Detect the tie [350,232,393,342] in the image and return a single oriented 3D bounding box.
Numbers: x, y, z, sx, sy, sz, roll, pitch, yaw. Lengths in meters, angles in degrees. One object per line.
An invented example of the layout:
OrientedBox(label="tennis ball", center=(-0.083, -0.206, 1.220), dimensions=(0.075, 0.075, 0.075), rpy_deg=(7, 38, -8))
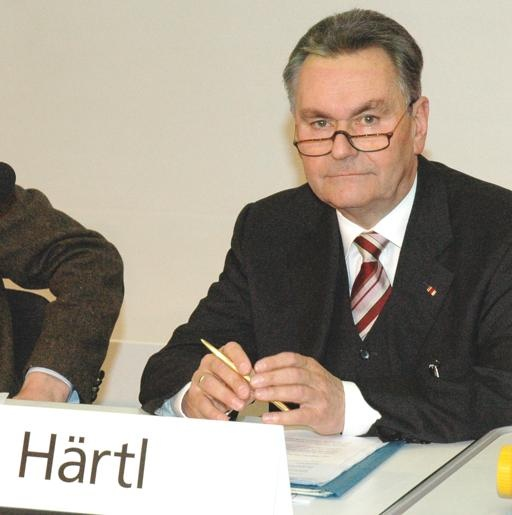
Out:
OrientedBox(label="tie", center=(0.281, 0.070, 1.476), dimensions=(0.146, 0.279, 0.037), rpy_deg=(2, 0, -14))
